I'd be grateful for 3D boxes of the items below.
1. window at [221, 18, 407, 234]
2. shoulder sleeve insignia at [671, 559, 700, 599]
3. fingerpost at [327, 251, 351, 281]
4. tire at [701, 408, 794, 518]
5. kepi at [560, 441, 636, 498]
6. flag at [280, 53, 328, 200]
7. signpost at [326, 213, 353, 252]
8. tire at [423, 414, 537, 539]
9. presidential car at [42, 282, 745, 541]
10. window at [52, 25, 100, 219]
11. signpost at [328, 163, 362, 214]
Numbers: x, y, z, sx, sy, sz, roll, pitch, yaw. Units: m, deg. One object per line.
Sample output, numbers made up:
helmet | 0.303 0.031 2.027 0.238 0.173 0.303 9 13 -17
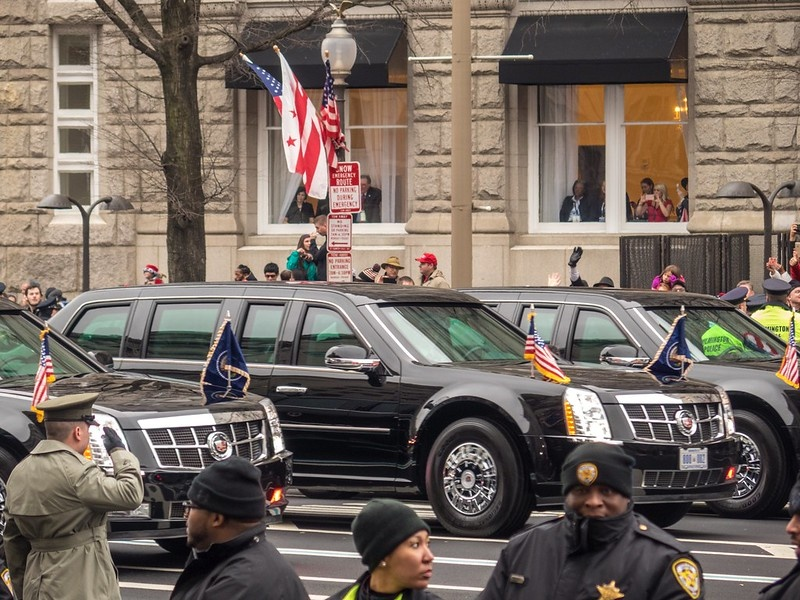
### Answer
window | -1.315 -2.822 33.461 2.758 2.810 1.737 -1 -20 -8
shoulder sleeve insignia | 2.170 2.089 14.625 0.270 0.297 0.034 -14 -7 -3
fingerpost | -0.790 -0.463 24.047 0.442 0.421 0.064 0 -3 -4
tire | 3.758 1.655 20.670 1.197 1.065 0.427 -13 -12 36
kepi | 1.519 1.219 15.059 0.555 0.377 0.641 -5 4 6
flag | -1.270 -2.240 25.125 0.598 1.750 0.887 1 1 -10
signpost | -0.793 -0.873 24.110 0.281 0.471 0.274 1 1 -4
tire | 0.541 1.813 20.100 1.361 1.200 0.491 7 -9 -41
presidential car | -0.180 1.083 21.295 7.299 1.949 2.997 -1 -2 25
window | -5.952 -3.323 35.020 0.946 3.339 0.315 2 6 14
signpost | -0.737 -1.447 24.408 0.369 0.659 0.625 1 1 -3
